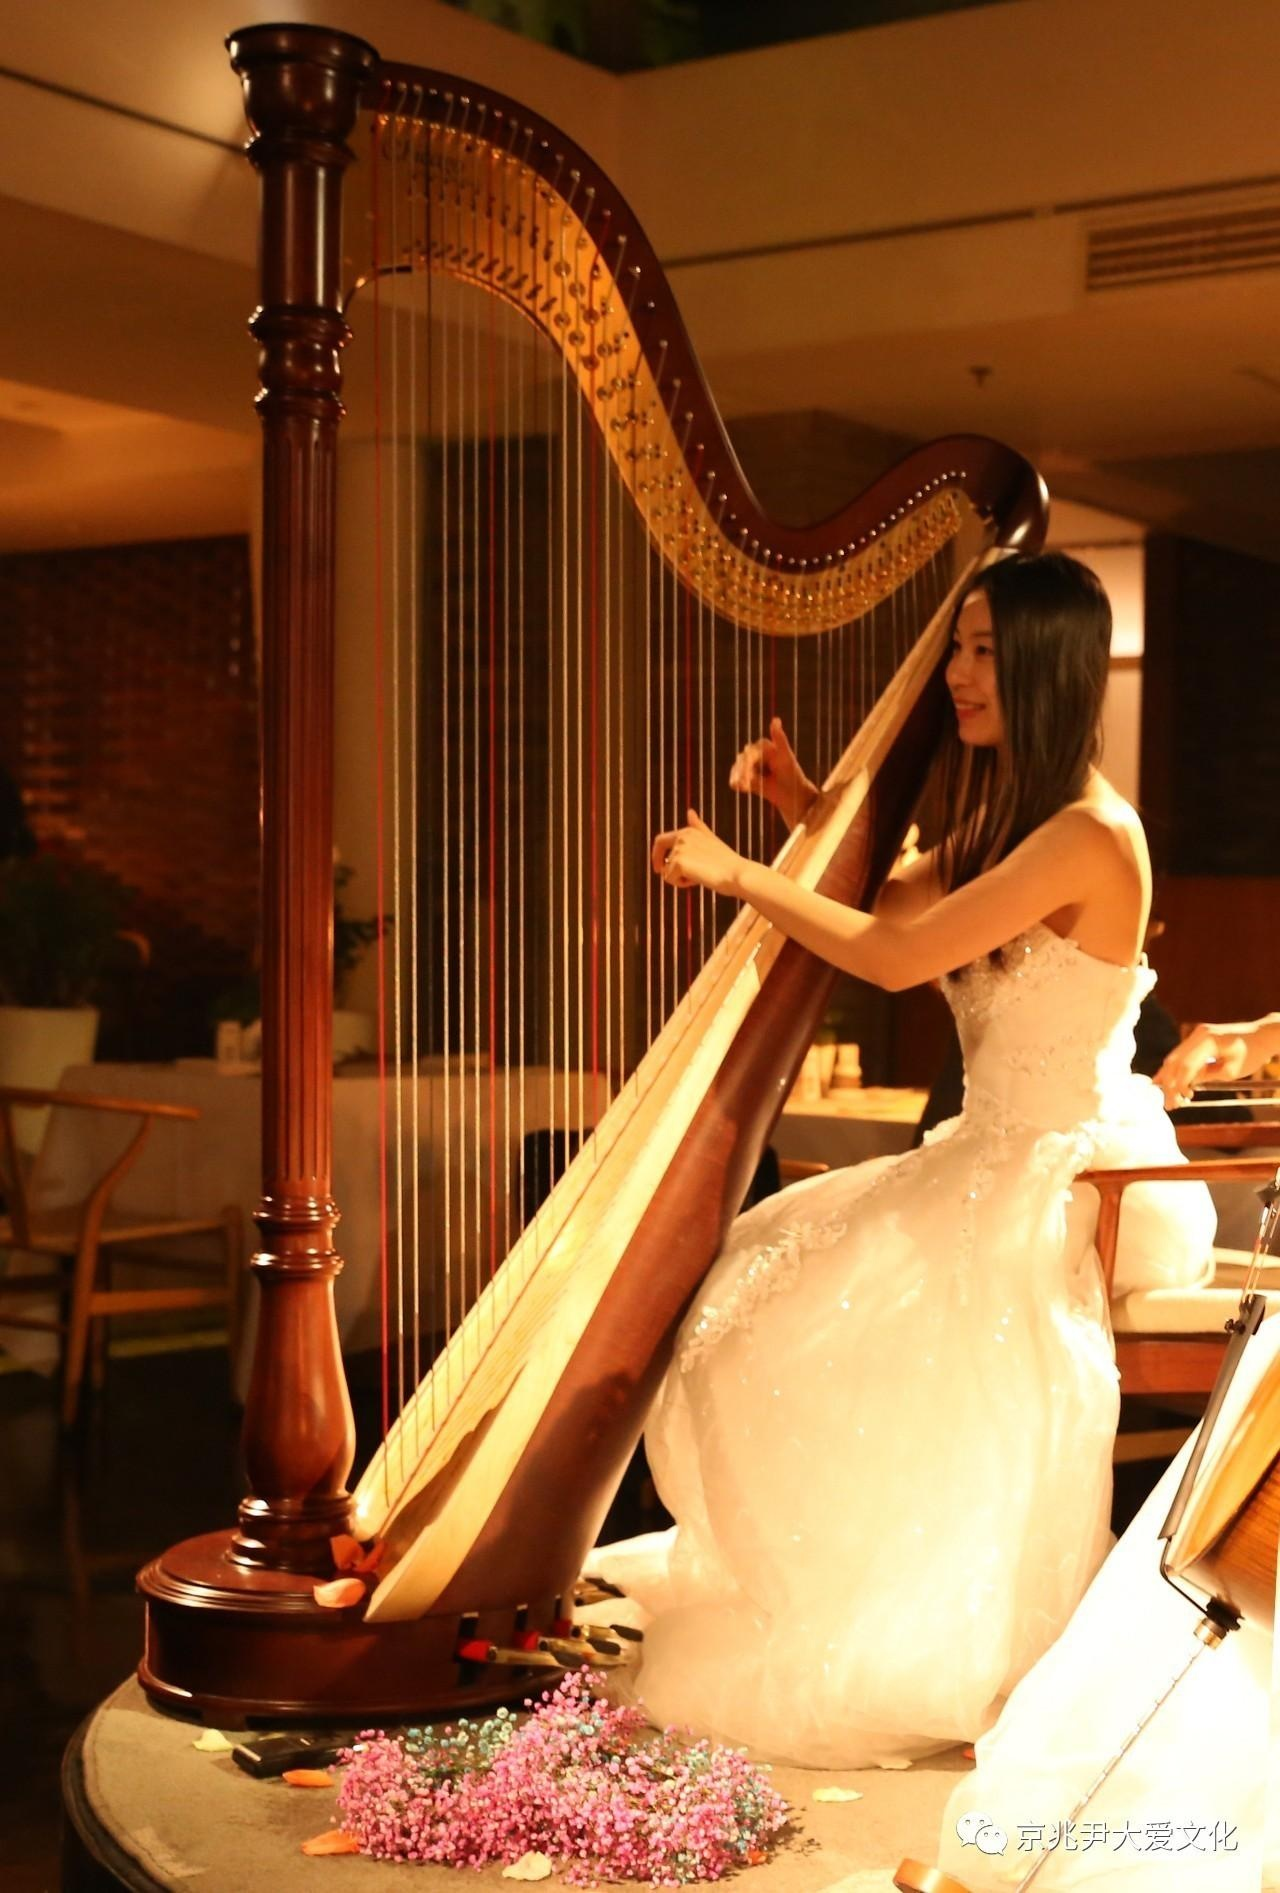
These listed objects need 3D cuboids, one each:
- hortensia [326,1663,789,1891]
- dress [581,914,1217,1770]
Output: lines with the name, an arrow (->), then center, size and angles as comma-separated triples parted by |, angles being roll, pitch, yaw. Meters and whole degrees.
hortensia -> -0.082, 0.820, 1.674 | 0.442, 0.145, 0.301 | -9, 8, 4
dress -> 0.277, 0.403, 2.047 | 0.585, 0.860, 0.720 | 0, 3, -17
